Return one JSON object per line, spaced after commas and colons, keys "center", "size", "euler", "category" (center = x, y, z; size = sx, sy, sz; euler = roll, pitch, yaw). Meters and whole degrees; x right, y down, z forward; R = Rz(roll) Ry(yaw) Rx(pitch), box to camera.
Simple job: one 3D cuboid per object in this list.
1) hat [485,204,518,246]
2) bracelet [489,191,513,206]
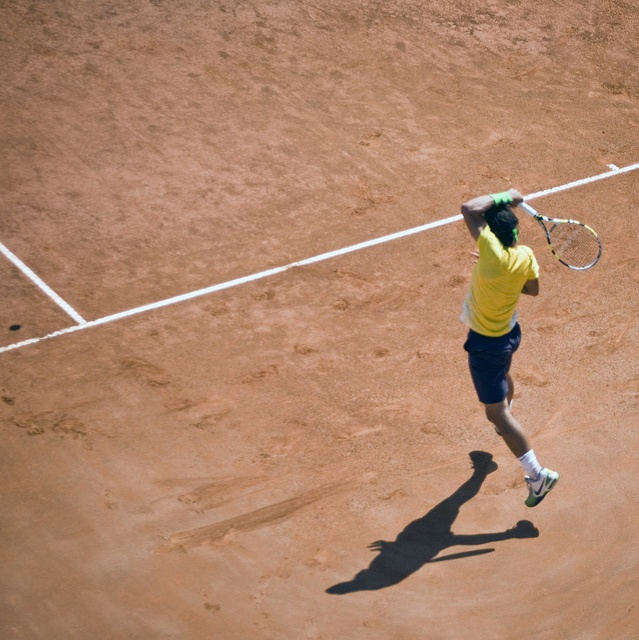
{"center": [1.506, -0.798, 7.618], "size": [0.266, 0.272, 0.410], "euler": [4, 32, 2], "category": "hat"}
{"center": [1.544, -1.037, 7.772], "size": [0.181, 0.081, 0.270], "euler": [10, 30, 13], "category": "bracelet"}
